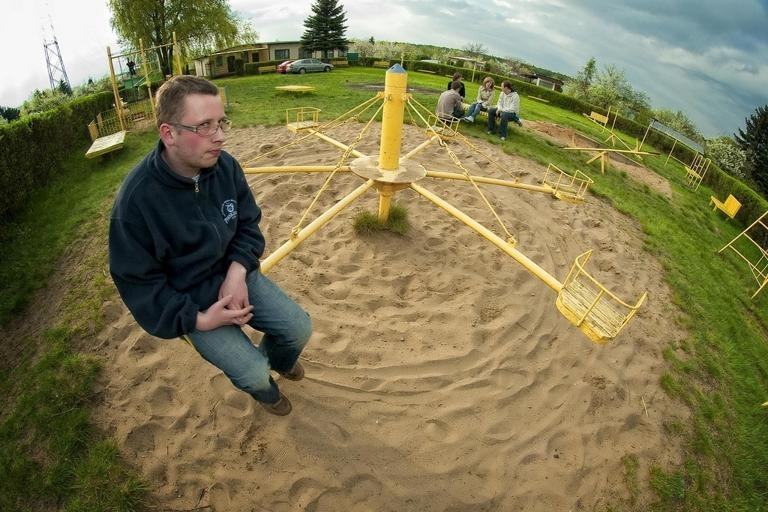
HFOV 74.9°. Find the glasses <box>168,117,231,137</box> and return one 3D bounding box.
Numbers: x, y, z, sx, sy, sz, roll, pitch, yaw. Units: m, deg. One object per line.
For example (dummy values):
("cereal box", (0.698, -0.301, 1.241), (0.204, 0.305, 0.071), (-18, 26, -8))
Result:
("glasses", (-2.019, -1.374, 5.414), (0.530, 0.134, 0.137), (-8, 38, -16))

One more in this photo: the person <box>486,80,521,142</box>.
("person", (3.178, -3.834, 12.954), (0.786, 1.505, 1.031), (17, 38, 18))

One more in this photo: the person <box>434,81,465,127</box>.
("person", (1.828, -4.099, 13.301), (0.735, 1.003, 0.759), (8, 17, -3))
